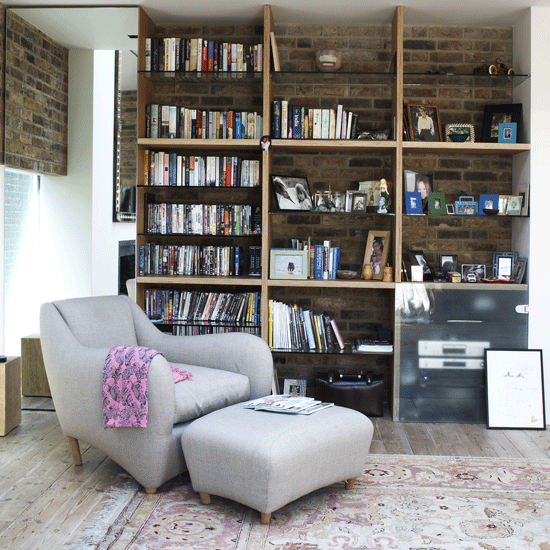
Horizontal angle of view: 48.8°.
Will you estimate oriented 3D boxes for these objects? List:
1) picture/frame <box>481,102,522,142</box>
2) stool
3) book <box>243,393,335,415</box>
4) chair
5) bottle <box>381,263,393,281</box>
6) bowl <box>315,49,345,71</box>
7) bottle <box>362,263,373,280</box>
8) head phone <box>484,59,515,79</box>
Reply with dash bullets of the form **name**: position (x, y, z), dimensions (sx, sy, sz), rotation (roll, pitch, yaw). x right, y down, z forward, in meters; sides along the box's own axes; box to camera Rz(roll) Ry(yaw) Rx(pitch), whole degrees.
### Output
- **picture/frame**: position (1.581, -1.061, 4.203), dimensions (0.321, 0.369, 0.029), rotation (4, -4, 30)
- **stool**: position (0.028, 0.867, 2.958), dimensions (0.630, 0.348, 0.861), rotation (-1, -3, 37)
- **book**: position (0.059, 0.662, 3.095), dimensions (0.284, 0.028, 0.232), rotation (0, 0, 29)
- **chair**: position (-0.700, 0.565, 3.345), dimensions (1.062, 0.808, 0.980), rotation (2, 2, 34)
- **bottle**: position (0.768, -0.014, 4.134), dimensions (0.095, 0.137, 0.097), rotation (1, 5, 0)
- **bowl**: position (0.376, -1.518, 4.261), dimensions (0.180, 0.144, 0.100), rotation (1, 6, 3)
- **bottle**: position (0.651, -0.026, 4.256), dimensions (0.079, 0.113, 0.087), rotation (1, 6, 0)
- **head phone**: position (1.572, -1.451, 4.232), dimensions (0.148, 0.104, 0.242), rotation (0, 4, 11)
